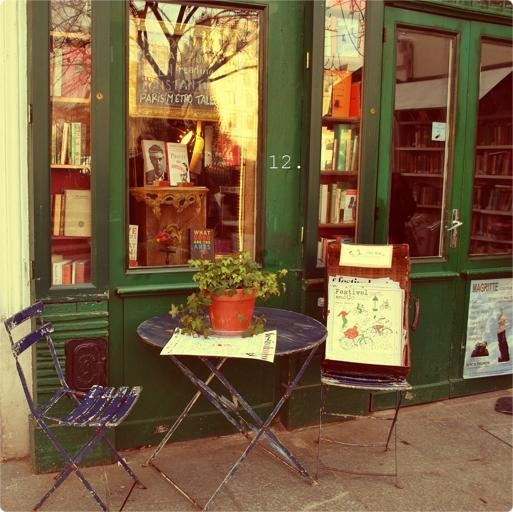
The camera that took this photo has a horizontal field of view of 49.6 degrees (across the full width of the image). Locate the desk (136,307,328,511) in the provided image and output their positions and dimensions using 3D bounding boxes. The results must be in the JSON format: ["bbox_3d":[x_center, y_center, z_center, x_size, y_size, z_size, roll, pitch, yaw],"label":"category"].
[{"bbox_3d":[-0.128,0.730,2.959,0.930,0.932,1.133,1,9,-3],"label":"desk"}]

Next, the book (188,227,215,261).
[{"bbox_3d":[-0.341,-0.080,3.394,0.194,0.270,0.030,-2,4,-33],"label":"book"}]

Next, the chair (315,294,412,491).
[{"bbox_3d":[0.639,0.687,3.315,0.568,0.985,0.943,4,9,16],"label":"chair"}]

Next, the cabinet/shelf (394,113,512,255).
[{"bbox_3d":[1.396,-0.545,4.053,1.022,1.008,0.358,-1,3,-24],"label":"cabinet/shelf"}]

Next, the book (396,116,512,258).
[{"bbox_3d":[1.405,-0.524,4.059,1.010,0.998,0.360,-1,3,-22],"label":"book"}]

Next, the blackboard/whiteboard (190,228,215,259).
[{"bbox_3d":[-0.337,-0.082,3.414,0.173,0.248,0.027,-2,3,-34],"label":"blackboard/whiteboard"}]

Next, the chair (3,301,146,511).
[{"bbox_3d":[-0.858,0.742,2.728,0.615,0.989,0.835,0,9,-12],"label":"chair"}]

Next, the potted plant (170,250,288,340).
[{"bbox_3d":[-0.085,0.182,2.695,0.380,0.294,0.408,11,-3,-30],"label":"potted plant"}]

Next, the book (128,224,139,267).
[{"bbox_3d":[-0.701,-0.060,3.200,0.072,0.247,0.042,-3,10,-30],"label":"book"}]
